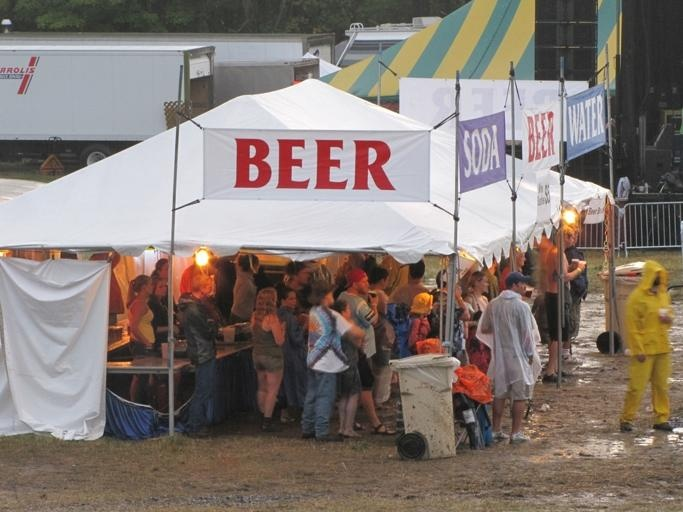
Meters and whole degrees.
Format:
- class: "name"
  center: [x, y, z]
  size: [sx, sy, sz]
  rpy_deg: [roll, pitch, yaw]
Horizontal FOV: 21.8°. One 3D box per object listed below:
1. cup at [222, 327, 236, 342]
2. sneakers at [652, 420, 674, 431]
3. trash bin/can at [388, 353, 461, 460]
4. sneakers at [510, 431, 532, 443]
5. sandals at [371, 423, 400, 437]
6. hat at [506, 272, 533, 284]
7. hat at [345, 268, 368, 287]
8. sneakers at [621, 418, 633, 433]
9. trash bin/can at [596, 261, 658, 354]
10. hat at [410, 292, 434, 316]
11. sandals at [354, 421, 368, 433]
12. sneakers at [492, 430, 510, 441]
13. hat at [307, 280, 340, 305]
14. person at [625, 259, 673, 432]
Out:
- class: "cup"
  center: [-1.999, 1.458, 31.544]
  size: [0.239, 0.341, 0.222]
  rpy_deg: [1, 3, 0]
- class: "sneakers"
  center: [5.414, 2.949, 29.881]
  size: [0.344, 0.275, 0.127]
  rpy_deg: [-4, -1, 10]
- class: "trash bin/can"
  center: [1.397, 2.559, 29.078]
  size: [1.328, 2.174, 1.482]
  rpy_deg: [-2, -2, 15]
- class: "sneakers"
  center: [3.004, 3.118, 29.695]
  size: [0.358, 0.198, 0.139]
  rpy_deg: [1, 2, -23]
- class: "sandals"
  center: [0.729, 3.056, 30.140]
  size: [0.464, 0.229, 0.172]
  rpy_deg: [-1, -2, 4]
- class: "hat"
  center: [2.946, 0.416, 29.582]
  size: [0.346, 0.172, 0.235]
  rpy_deg: [-4, 6, -12]
- class: "hat"
  center: [0.244, 0.395, 30.013]
  size: [0.315, 0.214, 0.238]
  rpy_deg: [-12, 14, 36]
- class: "sneakers"
  center: [4.789, 2.948, 29.848]
  size: [0.232, 0.192, 0.151]
  rpy_deg: [-1, 2, -9]
- class: "trash bin/can"
  center: [5.515, 1.016, 34.378]
  size: [1.309, 1.823, 1.440]
  rpy_deg: [0, 3, 11]
- class: "hat"
  center: [1.369, 0.875, 30.519]
  size: [0.349, 0.317, 0.511]
  rpy_deg: [-1, 0, 2]
- class: "sandals"
  center: [0.331, 3.005, 30.324]
  size: [0.096, 0.132, 0.310]
  rpy_deg: [1, 1, 23]
- class: "sneakers"
  center: [2.663, 3.113, 29.828]
  size: [0.324, 0.177, 0.125]
  rpy_deg: [1, 4, -7]
- class: "hat"
  center: [-0.357, 0.655, 29.825]
  size: [0.386, 0.353, 0.405]
  rpy_deg: [-1, 0, -2]
- class: "person"
  center: [5.134, 1.578, 29.667]
  size: [0.801, 2.251, 0.569]
  rpy_deg: [-1, 0, 0]
